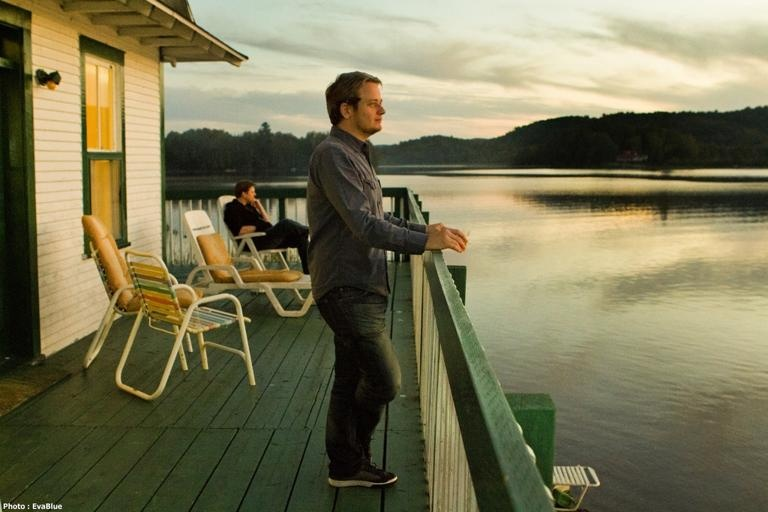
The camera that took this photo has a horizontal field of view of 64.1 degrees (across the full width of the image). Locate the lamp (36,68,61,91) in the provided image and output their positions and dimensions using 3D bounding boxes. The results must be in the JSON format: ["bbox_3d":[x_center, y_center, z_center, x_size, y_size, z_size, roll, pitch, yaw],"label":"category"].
[{"bbox_3d":[-3.448,-1.831,6.394,0.179,0.210,0.382,2,12,-2],"label":"lamp"}]

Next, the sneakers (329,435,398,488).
[{"bbox_3d":[-0.153,1.542,4.431,0.578,0.246,0.191,0,0,0],"label":"sneakers"}]

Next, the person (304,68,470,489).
[{"bbox_3d":[-0.102,0.235,4.155,0.888,2.880,0.552,2,12,0],"label":"person"}]

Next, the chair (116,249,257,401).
[{"bbox_3d":[-1.867,0.624,5.811,0.929,1.252,1.123,6,4,44],"label":"chair"}]

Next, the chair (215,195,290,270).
[{"bbox_3d":[-1.799,-0.172,9.359,0.894,1.076,0.863,0,-4,-44],"label":"chair"}]

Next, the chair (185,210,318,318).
[{"bbox_3d":[-1.737,0.084,8.112,1.805,1.172,1.172,5,4,1],"label":"chair"}]

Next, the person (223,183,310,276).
[{"bbox_3d":[-1.905,-0.305,9.379,1.276,1.135,0.917,-3,3,10],"label":"person"}]
